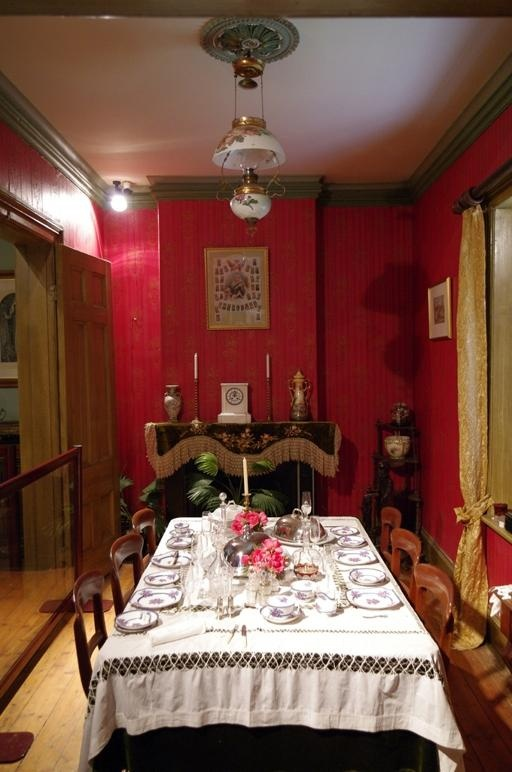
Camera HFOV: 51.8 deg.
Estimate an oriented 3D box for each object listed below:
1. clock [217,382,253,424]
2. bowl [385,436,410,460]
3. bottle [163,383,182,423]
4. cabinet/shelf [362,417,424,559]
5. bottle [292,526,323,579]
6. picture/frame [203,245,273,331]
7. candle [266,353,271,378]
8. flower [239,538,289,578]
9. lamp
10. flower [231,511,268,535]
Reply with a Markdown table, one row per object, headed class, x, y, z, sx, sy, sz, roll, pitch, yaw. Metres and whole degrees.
| class | x | y | z | sx | sy | sz | roll | pitch | yaw |
| --- | --- | --- | --- | --- | --- | --- | --- | --- | --- |
| clock | -0.181 | 0.146 | 4.499 | 0.276 | 0.402 | 0.322 | 1 | -1 | 1 |
| bowl | 1.169 | 0.499 | 4.318 | 0.173 | 0.163 | 0.191 | 1 | -3 | 0 |
| bottle | -0.722 | 0.148 | 4.565 | 0.138 | 0.311 | 0.176 | -1 | 4 | -11 |
| cabinet/shelf | 1.189 | 0.778 | 4.509 | 0.433 | 1.075 | 0.331 | 1 | 8 | 23 |
| bottle | 0.206 | 0.657 | 2.146 | 0.114 | 0.206 | 0.127 | -3 | 0 | 27 |
| picture/frame | -0.162 | -0.878 | 4.664 | 0.651 | 0.925 | 0.033 | 0 | 7 | 3 |
| candle | 0.104 | -0.172 | 4.637 | 0.048 | 0.230 | 0.139 | -1 | 4 | 0 |
| flower | 0.038 | 0.602 | 1.884 | 0.131 | 0.104 | 0.129 | 3 | 0 | -43 |
| lamp | -0.012 | -1.188 | 2.462 | 0.424 | 0.863 | 0.444 | -4 | 4 | -27 |
| flower | -0.032 | 0.570 | 2.280 | 0.125 | 0.140 | 0.124 | 0 | 0 | -37 |
